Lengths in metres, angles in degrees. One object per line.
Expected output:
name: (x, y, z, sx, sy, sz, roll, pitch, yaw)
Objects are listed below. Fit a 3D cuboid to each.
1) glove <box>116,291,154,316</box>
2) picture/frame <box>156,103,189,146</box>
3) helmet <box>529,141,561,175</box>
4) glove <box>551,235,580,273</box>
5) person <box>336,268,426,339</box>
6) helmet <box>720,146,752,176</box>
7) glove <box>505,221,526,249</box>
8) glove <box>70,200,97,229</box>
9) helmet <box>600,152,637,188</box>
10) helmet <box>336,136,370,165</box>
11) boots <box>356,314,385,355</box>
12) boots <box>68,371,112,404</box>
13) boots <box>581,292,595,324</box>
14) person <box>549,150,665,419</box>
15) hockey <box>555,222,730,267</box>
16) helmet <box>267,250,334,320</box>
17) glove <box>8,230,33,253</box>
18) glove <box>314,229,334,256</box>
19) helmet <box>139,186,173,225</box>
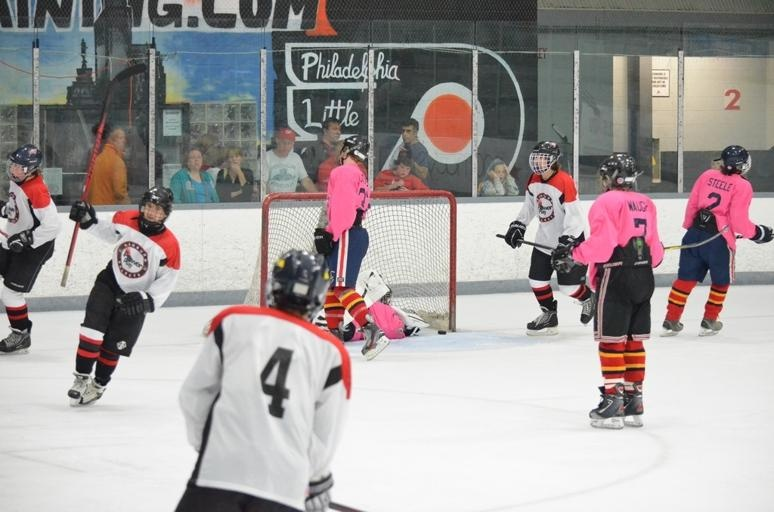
glove: (-1.970, 0.361, 8.641, 0.288, 0.177, 0.106, -3, 15, -12)
picture/frame: (-2.377, -1.436, 12.013, 0.341, 0.409, 0.271, 0, 12, -16)
helmet: (1.495, -0.942, 10.702, 0.282, 0.310, 0.332, -6, -12, 45)
glove: (1.561, -0.033, 9.652, 0.096, 0.270, 0.264, 30, -16, -26)
person: (-0.057, 0.497, 10.899, 0.789, 0.368, 0.567, 17, -15, 3)
helmet: (3.400, -0.925, 10.711, 0.314, 0.306, 0.270, -1, 6, -10)
glove: (1.264, -0.202, 10.850, 0.170, 0.285, 0.111, 17, -27, 18)
glove: (-2.451, -0.341, 8.908, 0.175, 0.239, 0.121, -11, 15, -5)
helmet: (1.838, -0.667, 8.752, 0.298, 0.312, 0.254, 13, 22, 40)
helmet: (-0.311, -0.992, 10.321, 0.291, 0.285, 0.239, 21, 17, 26)
boots: (-0.101, 0.704, 9.837, 0.146, 0.308, 0.433, -37, -7, -18)
boots: (-2.414, 1.092, 8.952, 0.143, 0.185, 0.405, 13, -9, 5)
boots: (1.967, 0.484, 10.803, 0.144, 0.365, 0.122, 0, 12, -16)
person: (1.789, 0.398, 8.604, 0.710, 1.761, 0.555, 0, 14, 1)
hockey: (2.223, -0.108, 9.613, 2.017, 0.300, 0.355, -4, -4, -25)
helmet: (-0.510, 0.127, 6.762, 0.332, 0.412, 0.415, 13, 9, -7)
glove: (-3.314, -0.139, 9.944, 0.216, 0.162, 0.085, -11, -8, -10)
glove: (-0.573, -0.140, 10.154, 0.219, 0.225, 0.081, 10, 19, 32)
helmet: (-1.820, -0.431, 8.846, 0.228, 0.280, 0.284, 15, -12, -2)
